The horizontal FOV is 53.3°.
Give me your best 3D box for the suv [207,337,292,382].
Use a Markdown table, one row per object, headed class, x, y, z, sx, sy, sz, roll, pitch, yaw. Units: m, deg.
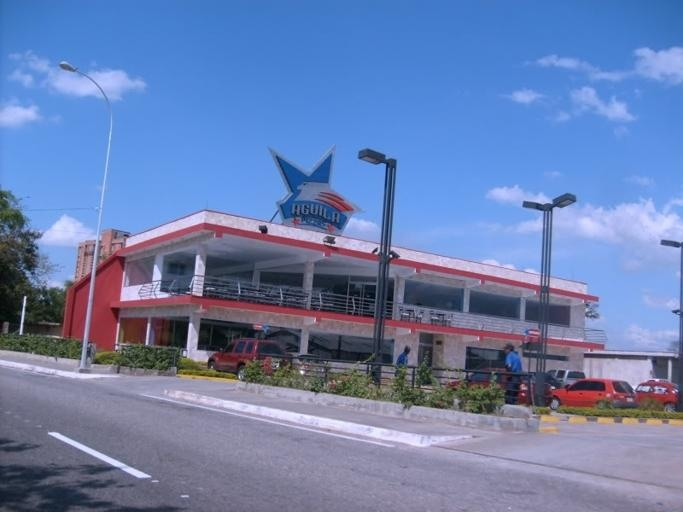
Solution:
| class | x | y | z | sx | sy | sz | roll | pitch | yaw |
| --- | --- | --- | --- | --- | --- | --- | --- | --- | --- |
| suv | -4.532 | 4.470 | 29.624 | 1.873 | 1.447 | 3.717 | 11 | -8 | -42 |
